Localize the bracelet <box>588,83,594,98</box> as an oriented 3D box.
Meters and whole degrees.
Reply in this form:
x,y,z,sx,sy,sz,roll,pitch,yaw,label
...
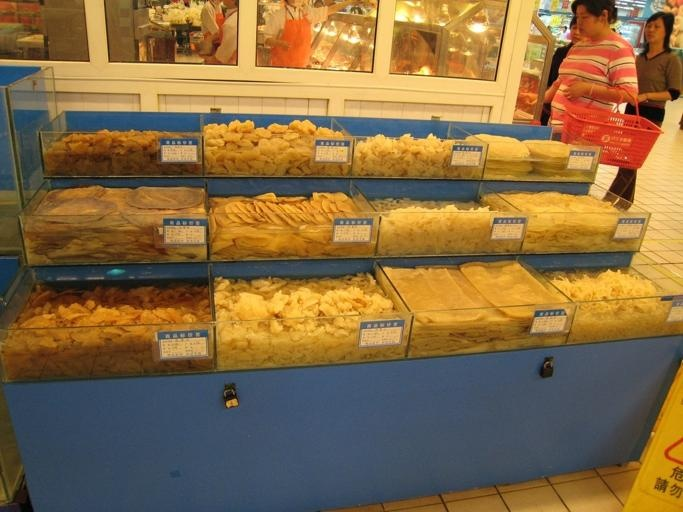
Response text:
x,y,z,sx,sy,sz,roll,pitch,yaw,label
1.849,-1.226,3.639,0.016,0.057,0.063,14,-17,8,bracelet
